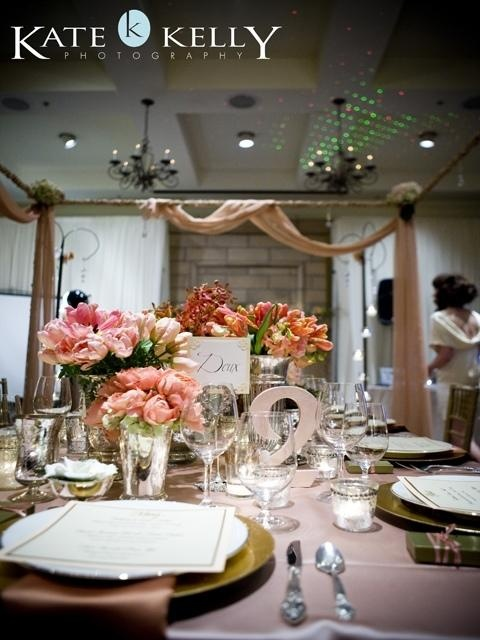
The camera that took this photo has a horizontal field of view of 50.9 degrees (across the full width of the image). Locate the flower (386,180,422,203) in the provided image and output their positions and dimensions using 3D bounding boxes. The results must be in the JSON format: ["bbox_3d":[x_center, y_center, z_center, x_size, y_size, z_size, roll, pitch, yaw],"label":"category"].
[{"bbox_3d":[1.282,-0.991,3.919,0.275,0.187,0.200,0,-2,33],"label":"flower"}]

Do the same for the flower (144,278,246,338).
[{"bbox_3d":[-0.107,0.004,1.298,0.183,0.130,0.164,16,13,-9],"label":"flower"}]

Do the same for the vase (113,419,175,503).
[{"bbox_3d":[-0.167,0.246,0.885,0.092,0.127,0.091,1,-9,-10],"label":"vase"}]

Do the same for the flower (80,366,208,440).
[{"bbox_3d":[-0.166,0.122,0.828,0.138,0.075,0.136,5,24,32],"label":"flower"}]

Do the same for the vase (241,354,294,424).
[{"bbox_3d":[0.061,0.158,1.193,0.133,0.171,0.127,2,-15,0],"label":"vase"}]

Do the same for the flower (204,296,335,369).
[{"bbox_3d":[0.068,0.035,1.240,0.301,0.158,0.132,1,-1,9],"label":"flower"}]

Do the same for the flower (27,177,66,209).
[{"bbox_3d":[-1.519,-0.970,3.946,0.241,0.176,0.231,6,21,-22],"label":"flower"}]

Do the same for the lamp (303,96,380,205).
[{"bbox_3d":[1.012,-1.583,5.115,0.484,0.673,0.498,12,-3,38],"label":"lamp"}]

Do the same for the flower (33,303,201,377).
[{"bbox_3d":[-0.227,0.041,0.959,0.298,0.142,0.190,2,-2,-26],"label":"flower"}]

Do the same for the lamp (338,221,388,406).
[{"bbox_3d":[1.433,-0.256,5.981,0.718,2.072,1.138,1,-1,14],"label":"lamp"}]

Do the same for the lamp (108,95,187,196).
[{"bbox_3d":[-0.956,-1.667,5.212,0.731,0.947,0.725,4,-7,-40],"label":"lamp"}]

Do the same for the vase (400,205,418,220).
[{"bbox_3d":[1.343,-0.845,4.025,0.116,0.123,0.130,-2,-4,28],"label":"vase"}]
